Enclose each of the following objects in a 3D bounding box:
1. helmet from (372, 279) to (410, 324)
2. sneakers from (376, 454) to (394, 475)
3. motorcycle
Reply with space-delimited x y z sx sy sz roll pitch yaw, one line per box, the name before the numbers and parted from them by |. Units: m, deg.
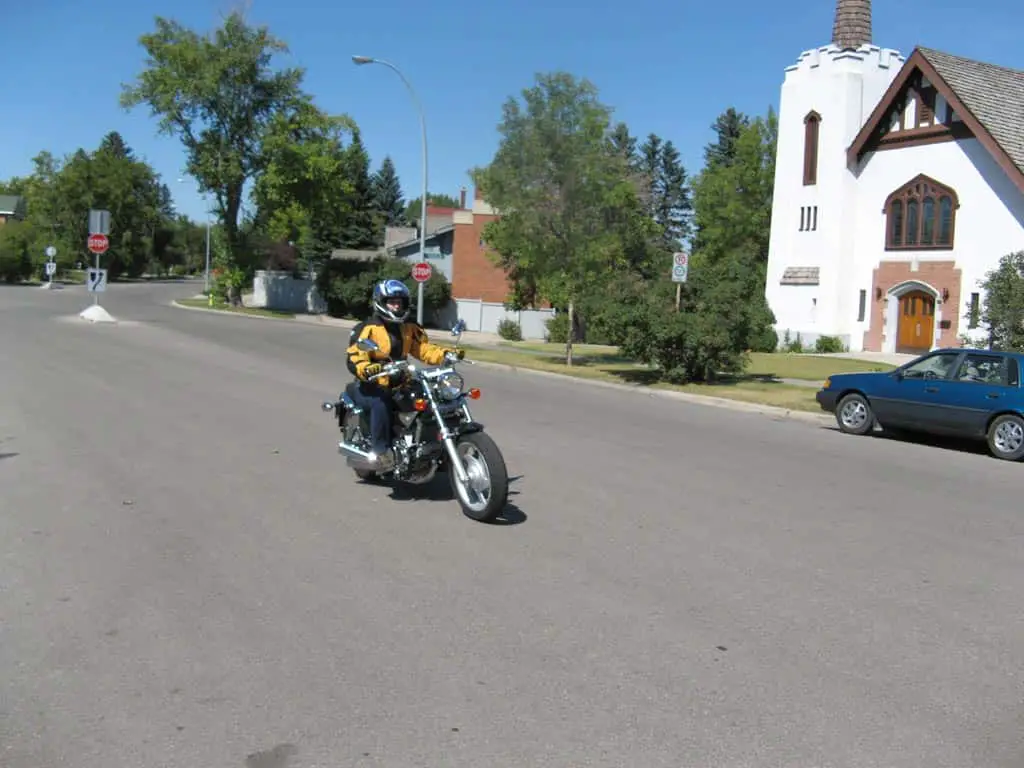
helmet | -1.369 -0.941 9.436 0.344 0.493 0.477 -2 8 -34
sneakers | -1.403 0.880 9.145 0.143 0.229 0.216 -5 7 9
motorcycle | -1.190 0.313 9.391 2.803 1.996 1.375 10 14 40
